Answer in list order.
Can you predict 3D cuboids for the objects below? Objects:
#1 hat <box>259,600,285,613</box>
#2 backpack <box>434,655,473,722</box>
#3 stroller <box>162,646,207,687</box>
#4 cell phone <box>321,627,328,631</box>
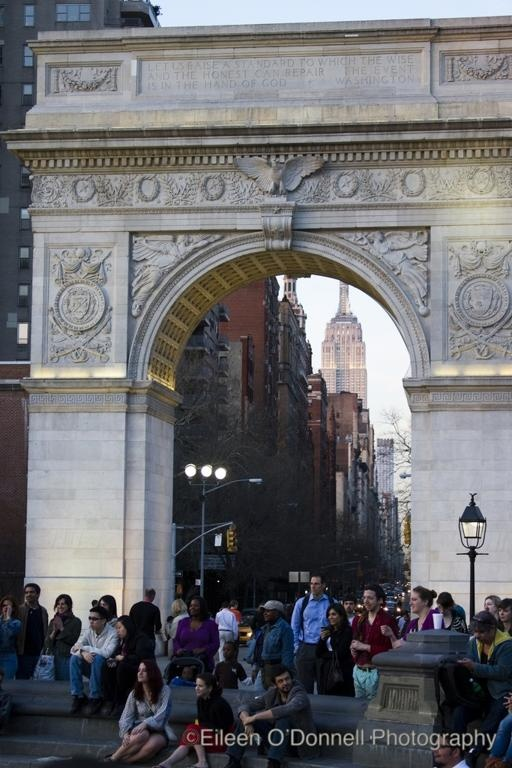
[{"bbox_3d":[0.308,3.154,23.932,0.321,0.113,0.221,12,-13,-17],"label":"hat"},{"bbox_3d":[2.505,3.823,20.973,0.478,0.793,0.370,-1,-11,3],"label":"backpack"},{"bbox_3d":[-1.040,4.173,24.893,0.444,0.575,0.593,2,-1,9],"label":"stroller"},{"bbox_3d":[1.008,3.512,24.179,0.077,0.020,0.079,-19,13,38],"label":"cell phone"}]
